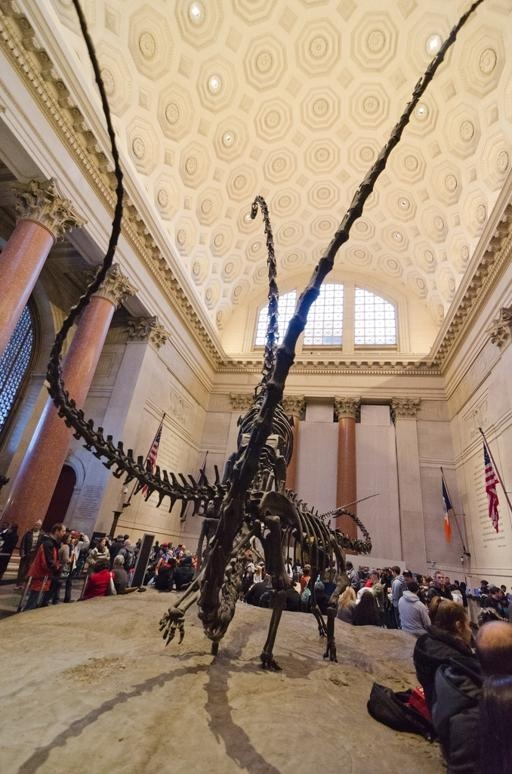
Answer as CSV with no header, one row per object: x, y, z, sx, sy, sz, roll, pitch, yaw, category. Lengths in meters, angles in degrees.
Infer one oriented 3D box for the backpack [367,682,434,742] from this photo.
0.835,1.787,2.001,0.315,0.162,0.387,7,-23,-11,backpack
